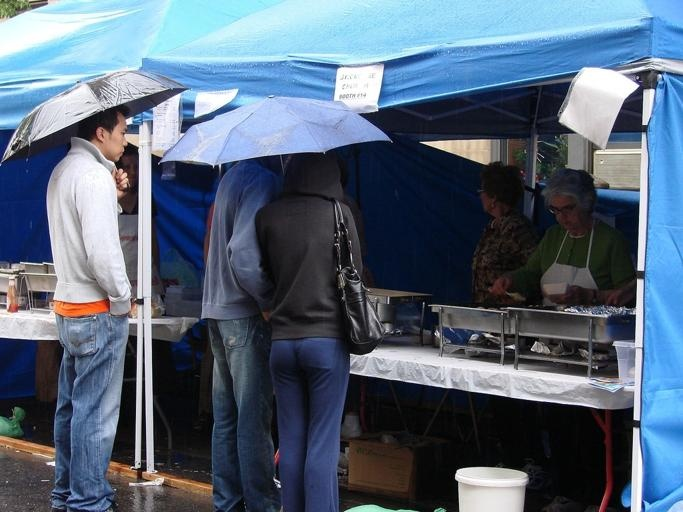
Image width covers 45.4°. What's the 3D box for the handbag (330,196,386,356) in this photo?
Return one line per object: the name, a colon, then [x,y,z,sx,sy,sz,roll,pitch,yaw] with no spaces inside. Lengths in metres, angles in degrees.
handbag: [0.083,0.119,4.568,0.312,0.763,0.118,4,-1,1]
